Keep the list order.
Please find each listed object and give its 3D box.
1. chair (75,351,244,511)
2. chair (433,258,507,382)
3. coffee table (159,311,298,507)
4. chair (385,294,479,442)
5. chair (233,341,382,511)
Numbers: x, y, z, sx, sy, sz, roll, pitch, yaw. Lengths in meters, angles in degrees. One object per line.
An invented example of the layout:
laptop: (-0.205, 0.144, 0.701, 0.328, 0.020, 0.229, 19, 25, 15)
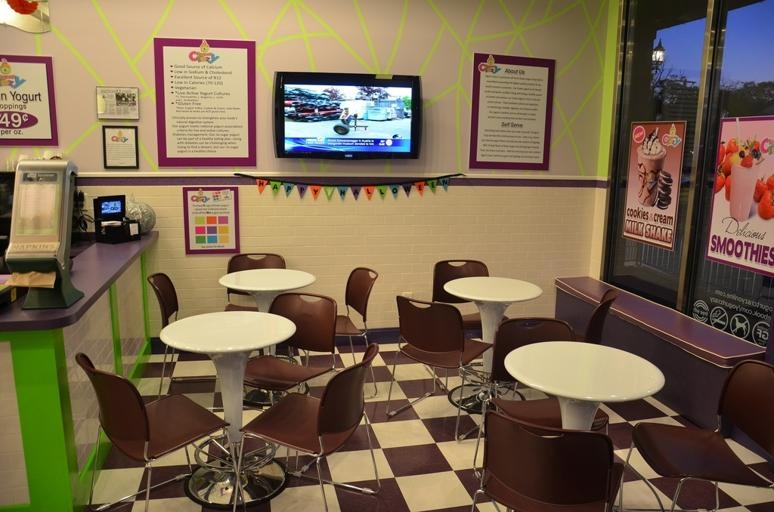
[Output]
chair: (-1.597, 1.267, 3.684, 0.829, 1.104, 0.664, -17, 29, -41)
chair: (0.699, 0.417, 5.505, 0.745, 1.226, 0.837, -1, 5, -10)
coffee table: (-1.148, 1.067, 4.042, 1.231, 1.455, 1.233, 1, 10, -7)
chair: (0.411, 1.035, 4.642, 0.791, 1.169, 0.869, 11, 25, 33)
chair: (-0.471, 1.150, 3.559, 0.756, 1.158, 0.619, 5, 14, 24)
